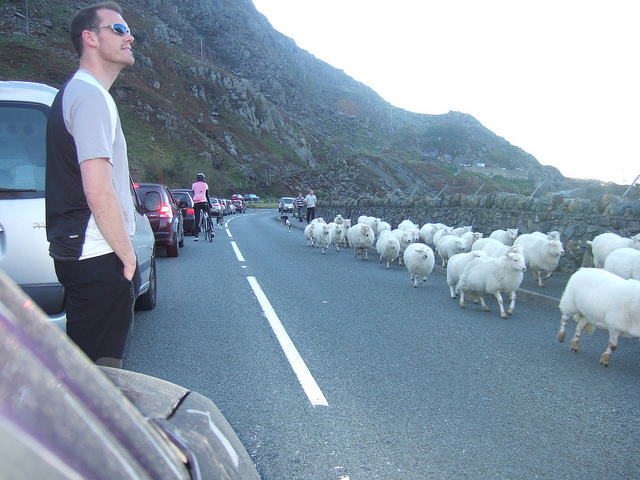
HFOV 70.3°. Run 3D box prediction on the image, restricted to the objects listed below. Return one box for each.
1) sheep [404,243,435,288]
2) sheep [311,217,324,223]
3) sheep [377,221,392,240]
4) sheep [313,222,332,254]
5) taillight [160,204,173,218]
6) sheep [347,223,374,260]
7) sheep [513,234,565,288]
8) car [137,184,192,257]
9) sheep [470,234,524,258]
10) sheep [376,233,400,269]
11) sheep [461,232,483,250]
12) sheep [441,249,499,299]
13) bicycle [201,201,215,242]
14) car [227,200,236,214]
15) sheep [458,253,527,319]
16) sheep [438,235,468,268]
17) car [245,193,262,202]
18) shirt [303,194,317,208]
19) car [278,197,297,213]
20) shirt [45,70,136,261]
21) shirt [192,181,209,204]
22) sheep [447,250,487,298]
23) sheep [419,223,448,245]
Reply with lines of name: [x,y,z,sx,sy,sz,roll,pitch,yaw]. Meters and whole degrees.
sheep: [2.294,0.559,10.515,0.611,0.978,1.390,0,6,1]
sheep: [-0.098,-0.802,18.391,0.501,0.286,0.208,-10,-4,37]
sheep: [2.578,-0.540,18.210,0.344,0.566,0.799,1,-2,-2]
sheep: [0.100,-0.086,16.689,0.529,1.045,1.606,-6,11,-13]
taillight: [-4.300,-0.821,12.785,0.159,0.371,0.464,3,5,18]
sheep: [1.369,0.014,14.942,0.624,1.106,1.296,1,5,-8]
sheep: [5.235,0.463,10.960,0.589,1.129,1.811,-2,8,-6]
car: [-4.573,-0.794,13.767,1.277,1.127,2.483,0,10,4]
sheep: [4.205,0.136,10.749,0.328,0.587,1.088,-26,9,-18]
sheep: [1.989,0.298,13.334,0.590,1.018,1.495,-1,14,-5]
sheep: [4.588,-0.015,13.955,0.348,0.588,1.078,0,-1,-5]
sheep: [2.935,0.729,9.142,1.327,0.933,0.518,8,13,16]
bicycle: [-4.510,-0.656,18.283,0.381,1.350,1.299,0,5,-13]
car: [-11.600,-4.383,59.671,0.989,0.984,1.805,1,11,4]
sheep: [3.099,0.791,8.217,0.623,1.121,1.610,0,0,-19]
sheep: [3.690,0.340,12.624,0.527,0.804,1.064,0,-4,-16]
car: [-14.208,-8.963,96.398,2.622,1.359,1.507,-8,13,-31]
shirt: [-0.538,-2.305,26.683,0.490,0.766,1.067,1,5,-6]
car: [-3.538,-3.830,48.276,1.525,1.442,2.683,-1,-3,1]
shirt: [-1.393,-0.467,2.780,0.505,1.172,0.439,-2,6,-32]
shirt: [-4.494,-1.784,17.108,0.532,0.846,0.753,0,5,-16]
sheep: [2.936,0.688,8.959,0.511,0.986,1.229,-2,-4,-14]
sheep: [4.220,-0.318,16.668,0.465,0.776,1.415,1,-6,-19]
